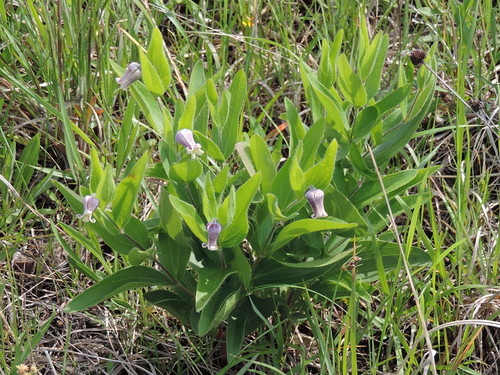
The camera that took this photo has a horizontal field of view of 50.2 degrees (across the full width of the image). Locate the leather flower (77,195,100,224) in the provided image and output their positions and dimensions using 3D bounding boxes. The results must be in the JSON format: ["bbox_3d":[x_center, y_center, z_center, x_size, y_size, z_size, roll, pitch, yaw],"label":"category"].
[{"bbox_3d":[-0.700,0.084,2.330,0.084,0.140,0.094,17,12,-26],"label":"leather flower"}]

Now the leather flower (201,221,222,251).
[{"bbox_3d":[-0.162,0.220,2.342,0.061,0.074,0.154,-1,59,8],"label":"leather flower"}]

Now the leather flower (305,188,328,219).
[{"bbox_3d":[0.296,0.036,2.393,0.064,0.182,0.066,-1,21,33],"label":"leather flower"}]
